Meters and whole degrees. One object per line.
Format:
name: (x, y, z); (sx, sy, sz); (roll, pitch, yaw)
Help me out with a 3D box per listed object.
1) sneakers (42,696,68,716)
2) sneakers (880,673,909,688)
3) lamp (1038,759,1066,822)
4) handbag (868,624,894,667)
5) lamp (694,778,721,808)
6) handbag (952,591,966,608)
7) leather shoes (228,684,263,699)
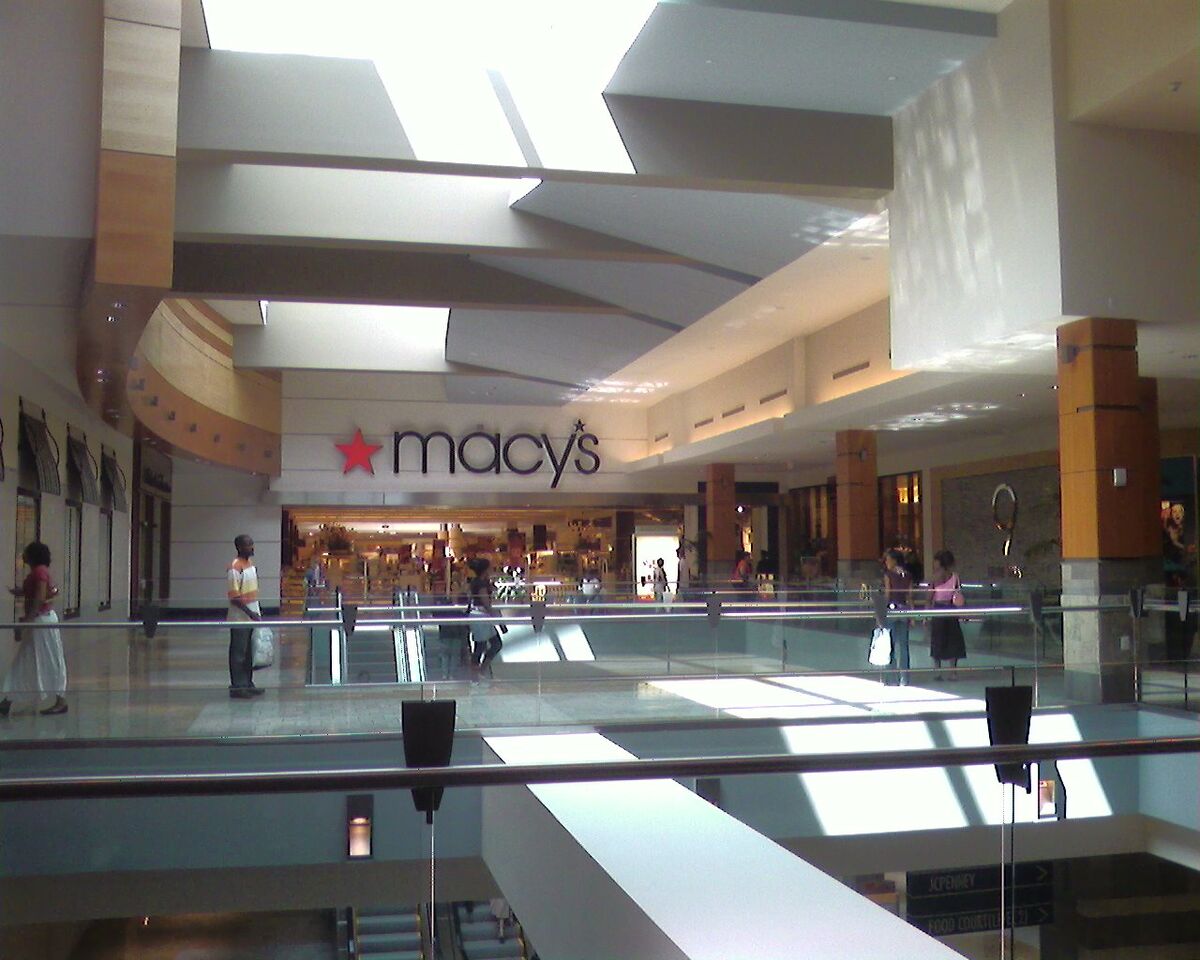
sneakers: (-4.140, 1.722, 7.312); (0.173, 0.130, 0.077); (8, -7, -19)
sneakers: (2.233, 1.507, 7.298); (0.194, 0.121, 0.140); (-5, 4, -4)
lamp: (1.171, 0.818, 2.543); (0.109, 0.164, 0.036); (1, -2, -26)
handbag: (2.546, 1.519, 8.734); (0.077, 0.323, 0.218); (8, -1, -34)
lamp: (0.334, 0.965, 2.980); (0.080, 0.113, 0.142); (-3, -6, 5)
handbag: (4.256, 1.439, 11.507); (0.143, 0.221, 0.057); (5, -33, -7)
leather shoes: (-2.786, 1.679, 7.579); (0.246, 0.089, 0.049); (-1, -6, -19)
